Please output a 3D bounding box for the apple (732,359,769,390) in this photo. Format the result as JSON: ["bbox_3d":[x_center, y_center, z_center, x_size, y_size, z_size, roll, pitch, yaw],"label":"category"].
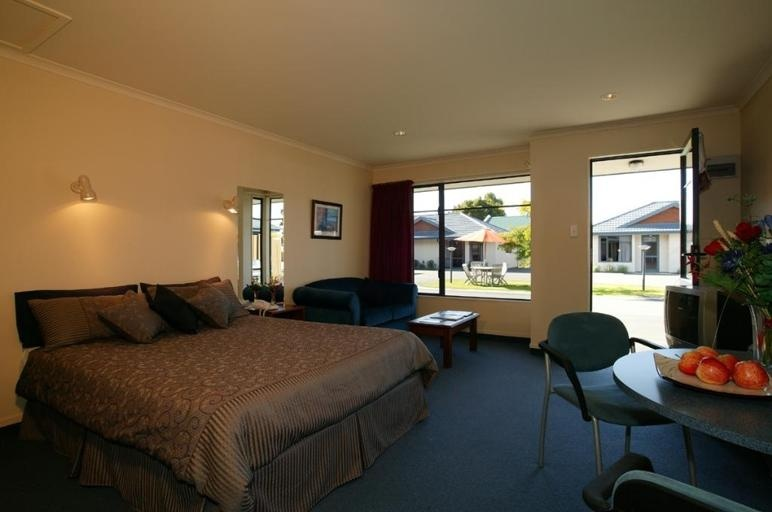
[{"bbox_3d":[2.295,0.758,3.239,0.173,0.120,0.178,-13,12,-10],"label":"apple"}]

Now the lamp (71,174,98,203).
[{"bbox_3d":[-2.936,-0.645,5.010,0.219,0.270,0.136,-4,13,-25],"label":"lamp"}]

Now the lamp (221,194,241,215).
[{"bbox_3d":[-1.829,-0.605,6.146,0.207,0.208,0.153,1,3,11],"label":"lamp"}]

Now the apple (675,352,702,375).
[{"bbox_3d":[2.000,0.711,3.393,0.136,0.137,0.076,-15,-33,25],"label":"apple"}]

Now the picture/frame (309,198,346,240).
[{"bbox_3d":[-0.852,-0.534,7.427,0.055,0.517,0.603,-1,-3,30],"label":"picture/frame"}]

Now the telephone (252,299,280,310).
[{"bbox_3d":[-1.477,0.612,6.328,0.171,0.072,0.150,5,2,30],"label":"telephone"}]

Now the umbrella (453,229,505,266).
[{"bbox_3d":[1.475,-0.148,7.905,0.526,0.392,0.559,-1,4,-6],"label":"umbrella"}]

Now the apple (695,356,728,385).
[{"bbox_3d":[2.089,0.736,3.289,0.150,0.164,0.092,18,-23,2],"label":"apple"}]

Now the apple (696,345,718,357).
[{"bbox_3d":[2.175,0.654,3.494,0.084,0.061,0.106,-13,13,-42],"label":"apple"}]

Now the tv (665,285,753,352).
[{"bbox_3d":[3.129,0.582,5.003,0.583,0.902,1.054,0,1,16],"label":"tv"}]
